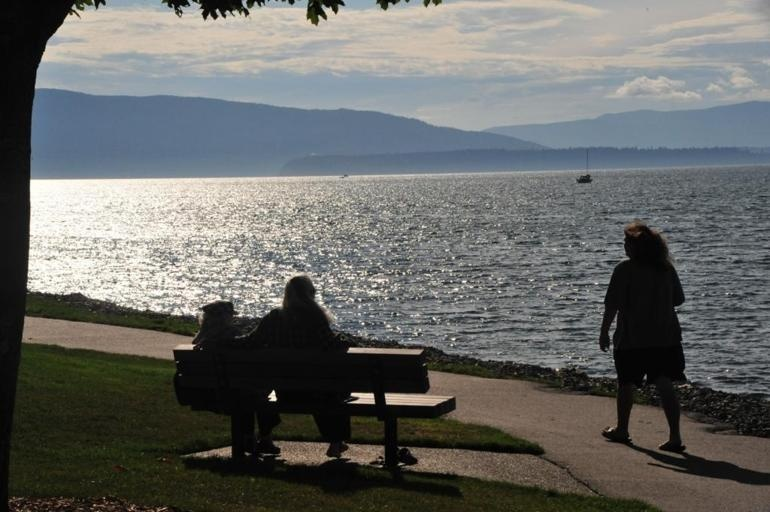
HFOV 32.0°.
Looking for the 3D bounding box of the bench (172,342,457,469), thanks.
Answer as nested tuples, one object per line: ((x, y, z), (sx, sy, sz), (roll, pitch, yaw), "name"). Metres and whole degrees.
((-1.503, 2.684, 25.175), (4.795, 2.169, 0.651), (-5, -4, 9), "bench")

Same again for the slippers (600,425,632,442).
((4.510, 3.578, 26.405), (0.494, 0.160, 0.274), (4, 3, 45), "slippers")

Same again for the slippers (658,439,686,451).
((5.531, 3.757, 26.022), (0.495, 0.179, 0.216), (3, -2, 10), "slippers")
